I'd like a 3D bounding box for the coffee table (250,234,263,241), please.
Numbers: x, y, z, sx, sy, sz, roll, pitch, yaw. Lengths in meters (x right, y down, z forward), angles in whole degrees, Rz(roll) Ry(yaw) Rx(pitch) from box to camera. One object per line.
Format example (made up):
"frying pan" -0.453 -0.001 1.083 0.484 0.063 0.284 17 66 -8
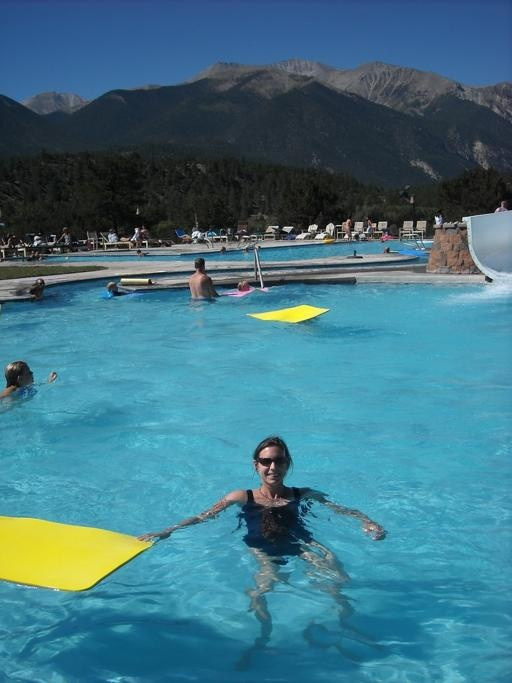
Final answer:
"coffee table" 0.048 -6.048 36.015 0.747 0.320 1.874 -2 11 2

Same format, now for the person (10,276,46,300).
"person" -4.310 -0.984 11.950 0.557 0.367 0.813 -7 13 -21

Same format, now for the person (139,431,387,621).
"person" 0.049 0.972 3.252 1.332 0.837 0.765 -4 -3 -2

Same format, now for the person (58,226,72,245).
"person" -8.763 -4.805 28.895 0.509 0.804 1.988 -6 12 -16
